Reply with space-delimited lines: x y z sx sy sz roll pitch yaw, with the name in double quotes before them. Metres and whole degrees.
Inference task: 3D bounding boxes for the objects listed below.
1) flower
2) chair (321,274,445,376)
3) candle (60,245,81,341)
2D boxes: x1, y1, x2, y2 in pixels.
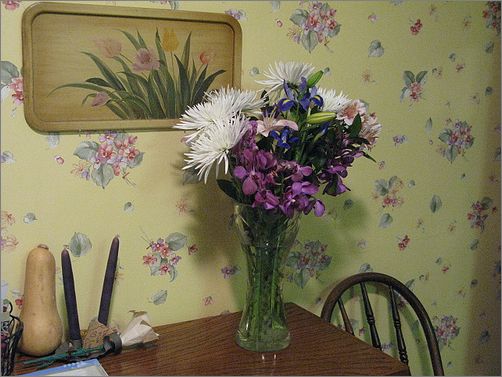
"flower" 0.083 -0.138 1.455 0.479 0.433 0.476 4 -4 -42
"chair" 0.477 0.497 1.780 0.316 0.452 0.324 -18 7 -13
"candle" -0.536 0.324 1.420 0.038 0.277 0.081 -5 15 -24
